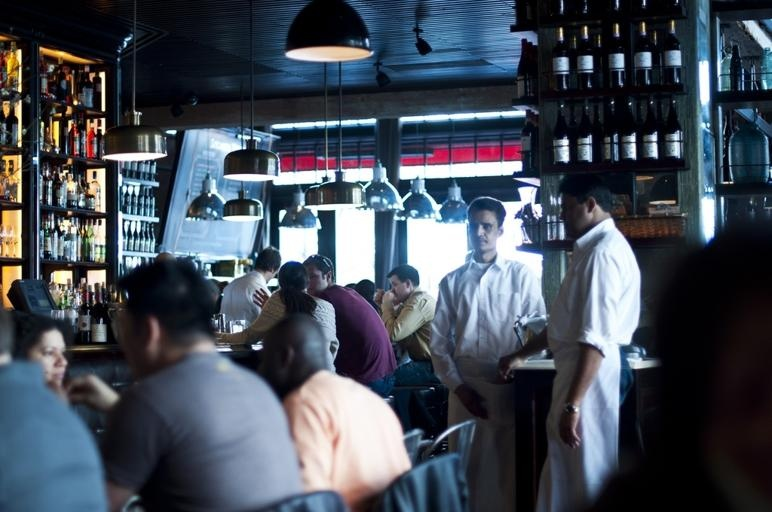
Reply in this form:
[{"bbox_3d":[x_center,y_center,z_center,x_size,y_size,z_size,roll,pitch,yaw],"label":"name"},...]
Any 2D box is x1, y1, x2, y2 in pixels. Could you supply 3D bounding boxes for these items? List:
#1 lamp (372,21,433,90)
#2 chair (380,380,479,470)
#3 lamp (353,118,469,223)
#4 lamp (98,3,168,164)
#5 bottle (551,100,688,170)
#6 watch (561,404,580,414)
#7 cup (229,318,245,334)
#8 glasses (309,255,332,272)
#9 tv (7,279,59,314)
[{"bbox_3d":[0.131,-1.777,8.792,0.421,0.291,1.742,1,-2,-6],"label":"lamp"},{"bbox_3d":[0.189,1.014,6.139,0.650,0.749,0.585,-2,2,-10],"label":"chair"},{"bbox_3d":[0.249,-1.072,9.153,1.400,1.329,0.528,3,-3,-44],"label":"lamp"},{"bbox_3d":[-1.870,-1.294,7.100,0.395,1.367,2.473,1,-2,-16],"label":"lamp"},{"bbox_3d":[1.401,-0.708,5.621,0.414,0.402,0.149,0,-8,6],"label":"bottle"},{"bbox_3d":[0.871,0.713,4.432,0.077,0.047,0.047,1,-2,-2],"label":"watch"},{"bbox_3d":[-1.163,0.557,7.489,0.088,0.163,0.091,1,-13,0],"label":"cup"},{"bbox_3d":[-0.464,0.065,6.921,0.110,0.074,0.143,9,-40,3],"label":"glasses"},{"bbox_3d":[-2.274,0.266,6.137,0.218,0.226,0.135,-2,-40,-41],"label":"tv"}]
